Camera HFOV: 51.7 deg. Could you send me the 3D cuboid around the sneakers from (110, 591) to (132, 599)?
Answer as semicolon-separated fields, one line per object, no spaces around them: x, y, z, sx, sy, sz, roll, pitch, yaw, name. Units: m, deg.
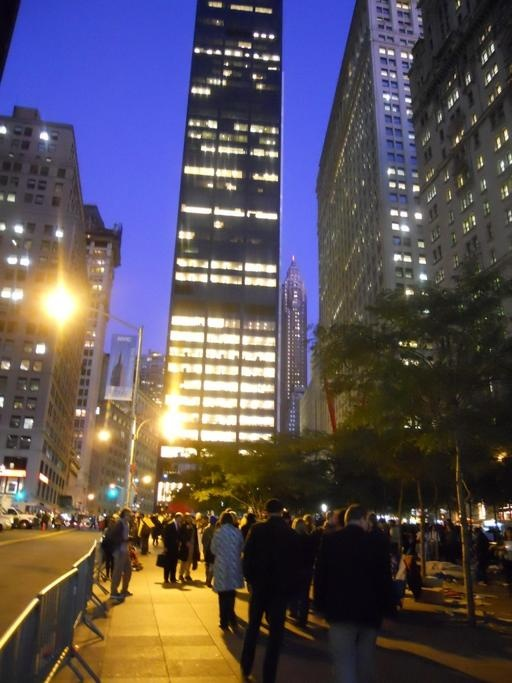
-2.915;5.520;11.503;0.441;0.262;0.195;1;-18;-1;sneakers
